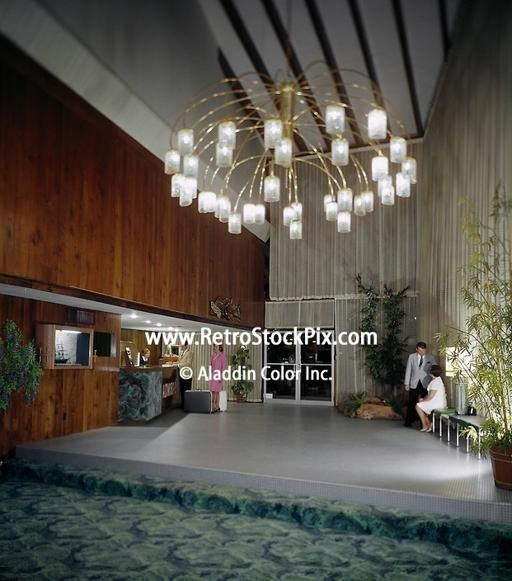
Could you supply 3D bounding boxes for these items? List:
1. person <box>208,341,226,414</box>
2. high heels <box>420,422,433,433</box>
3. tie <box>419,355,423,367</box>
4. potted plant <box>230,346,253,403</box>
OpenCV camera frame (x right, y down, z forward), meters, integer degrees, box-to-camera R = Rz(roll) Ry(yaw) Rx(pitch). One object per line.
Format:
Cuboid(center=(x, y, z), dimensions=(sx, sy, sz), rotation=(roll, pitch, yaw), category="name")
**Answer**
Cuboid(center=(-1.020, 2.328, 10.642), dimensions=(0.436, 1.803, 1.076), rotation=(-2, -3, -7), category="person")
Cuboid(center=(3.246, 2.606, 7.613), dimensions=(0.280, 0.142, 0.105), rotation=(-12, -2, -32), category="high heels")
Cuboid(center=(3.395, 1.450, 8.278), dimensions=(0.107, 0.252, 0.509), rotation=(-4, -3, 22), category="tie")
Cuboid(center=(-0.490, 2.739, 13.227), dimensions=(0.718, 1.810, 0.866), rotation=(-2, -3, -5), category="potted plant")
